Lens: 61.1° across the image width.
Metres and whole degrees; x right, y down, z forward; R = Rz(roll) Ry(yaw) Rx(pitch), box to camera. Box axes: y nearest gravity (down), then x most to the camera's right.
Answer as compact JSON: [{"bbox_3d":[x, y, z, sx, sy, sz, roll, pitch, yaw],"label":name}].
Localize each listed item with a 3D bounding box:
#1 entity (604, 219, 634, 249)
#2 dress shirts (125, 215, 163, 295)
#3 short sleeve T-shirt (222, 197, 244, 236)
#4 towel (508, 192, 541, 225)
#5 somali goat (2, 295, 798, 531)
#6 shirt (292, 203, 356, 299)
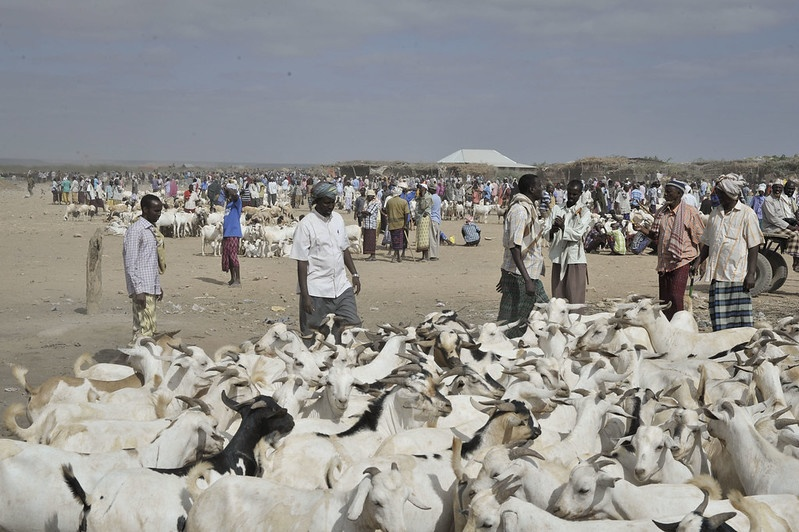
[{"bbox_3d":[7.096,-1.086,21.930,0.680,0.334,1.214,4,26,5],"label":"entity"},{"bbox_3d":[-3.346,-0.116,8.828,0.421,1.032,0.247,-2,2,-21],"label":"dress shirts"},{"bbox_3d":[-3.843,-1.109,15.568,0.368,0.930,0.474,-2,2,-8],"label":"short sleeve T-shirt"},{"bbox_3d":[1.645,-0.789,9.033,0.349,0.519,0.545,-14,10,17],"label":"towel"},{"bbox_3d":[0.100,1.288,5.957,5.378,2.780,1.351,-1,5,-1],"label":"somali goat"},{"bbox_3d":[-0.928,-0.136,8.001,0.728,1.050,0.303,-2,2,-15],"label":"shirt"}]
